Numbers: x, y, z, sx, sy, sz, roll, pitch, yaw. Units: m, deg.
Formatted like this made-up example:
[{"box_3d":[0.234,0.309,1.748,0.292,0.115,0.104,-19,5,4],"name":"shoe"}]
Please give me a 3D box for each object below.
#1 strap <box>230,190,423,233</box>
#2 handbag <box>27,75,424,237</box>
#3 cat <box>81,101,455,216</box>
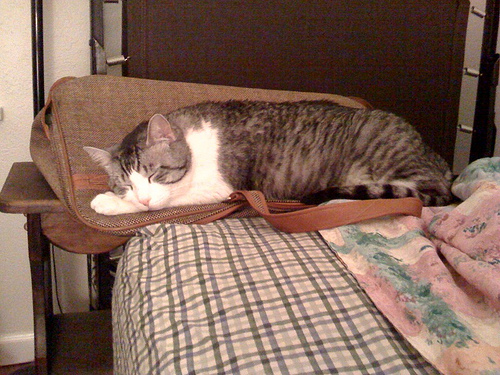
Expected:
[{"box_3d":[0.234,0.075,1.215,0.371,0.066,0.174,-3,-1,-2],"name":"strap"},{"box_3d":[-0.062,-0.107,1.408,1.230,0.181,0.490,0,55,-7],"name":"handbag"},{"box_3d":[0.083,-0.102,1.437,1.090,0.235,0.454,0,-1,-9],"name":"cat"}]
